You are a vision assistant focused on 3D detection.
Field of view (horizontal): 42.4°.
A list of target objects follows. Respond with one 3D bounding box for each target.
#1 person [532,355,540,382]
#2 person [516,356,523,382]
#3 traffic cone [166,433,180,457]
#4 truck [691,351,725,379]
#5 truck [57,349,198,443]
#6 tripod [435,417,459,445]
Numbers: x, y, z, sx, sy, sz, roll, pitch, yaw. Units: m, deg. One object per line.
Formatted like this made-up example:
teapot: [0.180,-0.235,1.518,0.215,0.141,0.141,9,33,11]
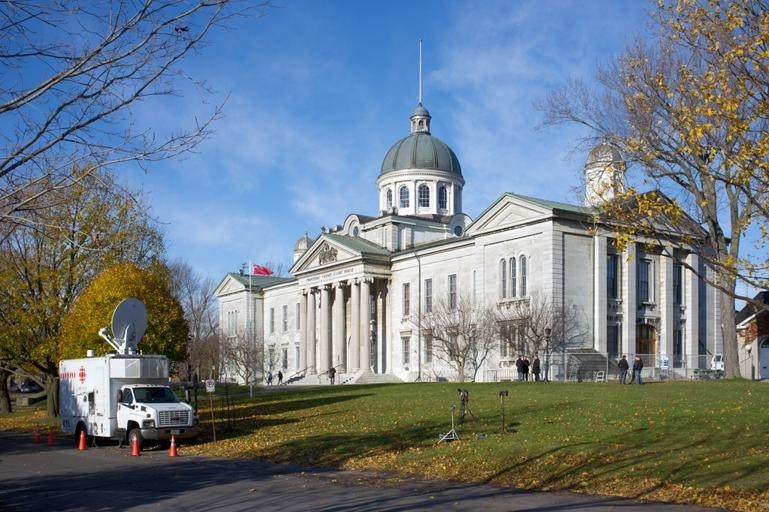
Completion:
person: [10.312,7.599,67.127,0.479,1.623,2.360,-2,2,9]
person: [9.108,7.644,66.141,0.444,1.465,1.870,-2,2,7]
traffic cone: [-9.102,8.179,42.621,0.763,1.069,0.851,3,-12,-19]
truck: [24.010,8.118,72.344,2.077,1.751,3.092,3,-14,-18]
truck: [-12.155,6.821,46.802,3.640,4.159,8.160,3,-7,-41]
tripod: [2.657,7.406,41.391,0.795,1.145,0.797,6,-14,-10]
